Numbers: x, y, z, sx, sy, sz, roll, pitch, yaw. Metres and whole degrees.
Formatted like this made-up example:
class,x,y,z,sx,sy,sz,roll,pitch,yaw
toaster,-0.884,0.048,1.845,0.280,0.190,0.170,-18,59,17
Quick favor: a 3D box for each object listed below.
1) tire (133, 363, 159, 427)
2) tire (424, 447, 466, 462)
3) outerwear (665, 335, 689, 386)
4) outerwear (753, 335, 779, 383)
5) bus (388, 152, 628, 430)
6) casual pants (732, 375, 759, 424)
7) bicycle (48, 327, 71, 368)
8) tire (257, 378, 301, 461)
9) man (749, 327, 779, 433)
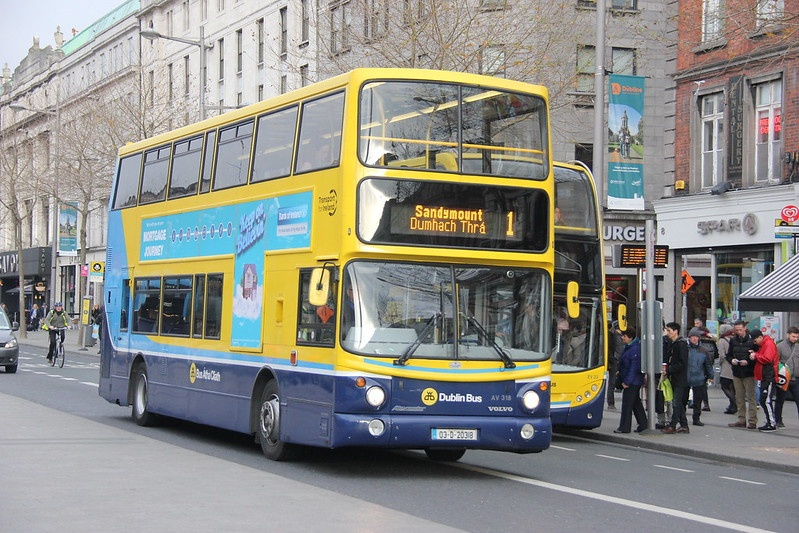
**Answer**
class,x,y,z,sx,sy,sz,roll,pitch,yaw
tire,-5.292,2.663,18.635,0.391,1.236,1.214,4,9,-27
tire,0.789,3.184,15.024,0.504,0.349,0.437,2,-4,-12
outerwear,5.956,2.041,19.061,0.450,1.039,0.398,5,6,18
outerwear,8.114,2.031,19.690,0.520,1.016,0.341,5,6,21
bus,2.272,0.287,22.252,2.250,5.352,8.821,-1,4,-13
casual pants,7.902,2.976,20.391,0.447,1.278,0.329,-3,-2,31
bicycle,-13.476,3.198,35.066,0.570,1.482,2.182,1,5,-22
tire,-1.900,2.436,14.212,0.505,1.452,1.244,6,4,-24
man,8.127,2.473,19.920,0.612,2.138,0.800,1,-6,10
